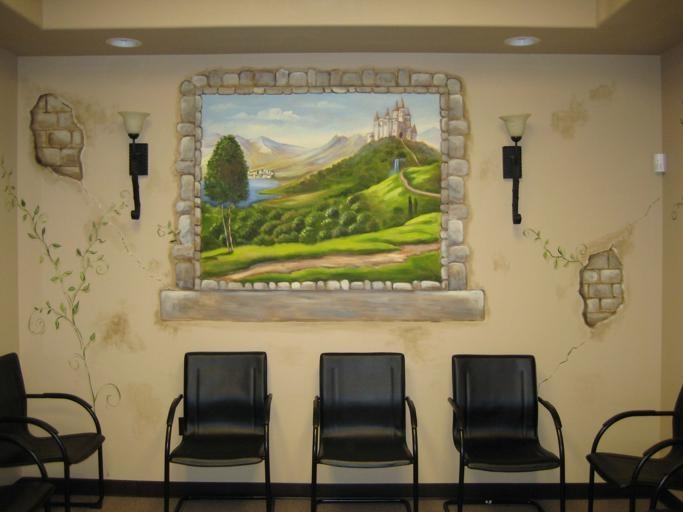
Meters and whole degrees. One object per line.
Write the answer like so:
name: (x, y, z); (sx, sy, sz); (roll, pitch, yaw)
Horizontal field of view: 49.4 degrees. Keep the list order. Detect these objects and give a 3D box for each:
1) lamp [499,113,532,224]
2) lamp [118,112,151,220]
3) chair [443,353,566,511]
lamp: (1.228, -0.612, 5.279); (0.192, 0.767, 0.289); (0, -2, 14)
lamp: (-1.484, -0.642, 5.316); (0.195, 0.747, 0.263); (1, -2, -8)
chair: (1.087, 1.245, 5.377); (0.879, 1.447, 1.017); (1, -10, 0)
